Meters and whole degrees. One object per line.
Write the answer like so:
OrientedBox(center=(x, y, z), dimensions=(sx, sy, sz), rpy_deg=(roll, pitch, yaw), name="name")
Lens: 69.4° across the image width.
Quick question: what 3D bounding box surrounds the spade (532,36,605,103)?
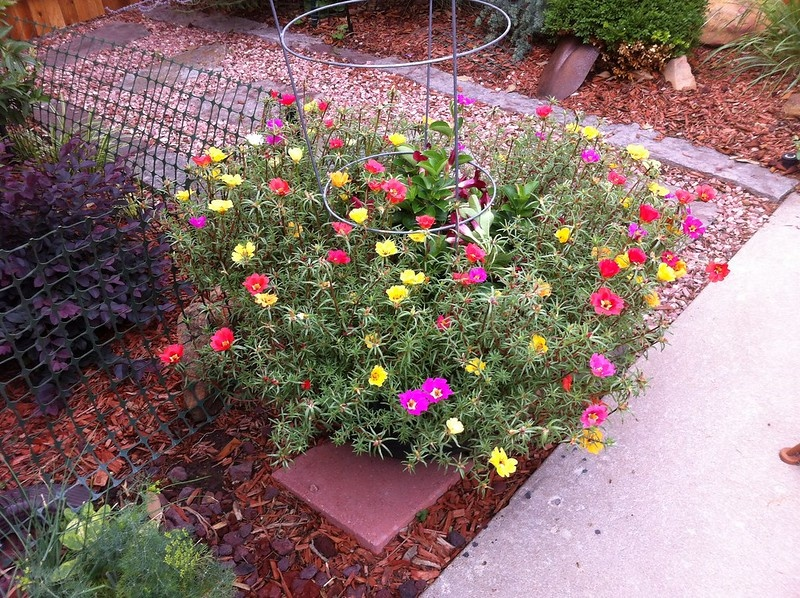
OrientedBox(center=(1.302, -1.931, 5.030), dimensions=(0.490, 0.897, 0.152), rpy_deg=(41, 96, -1), name="spade")
